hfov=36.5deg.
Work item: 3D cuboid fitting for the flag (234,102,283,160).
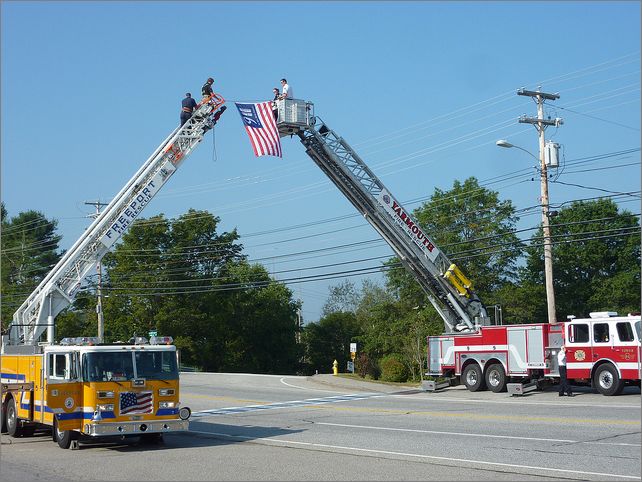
[{"bbox_3d":[-2.565,-4.728,40.693,1.517,2.321,0.533,-2,-12,-5],"label":"flag"}]
